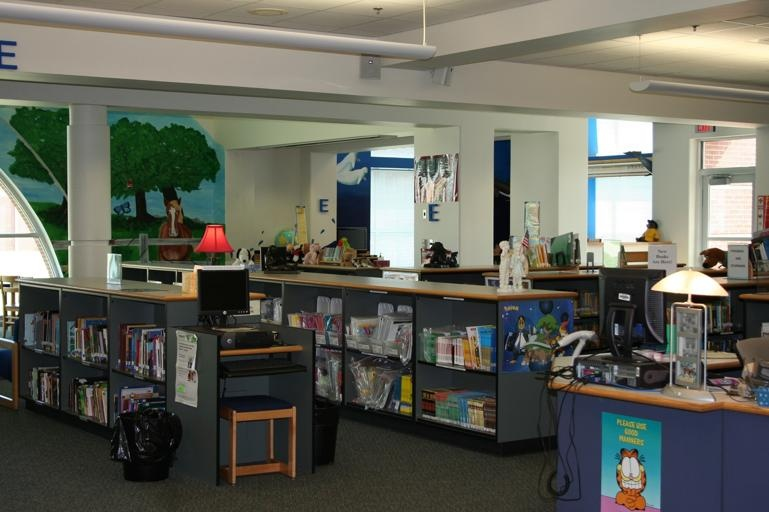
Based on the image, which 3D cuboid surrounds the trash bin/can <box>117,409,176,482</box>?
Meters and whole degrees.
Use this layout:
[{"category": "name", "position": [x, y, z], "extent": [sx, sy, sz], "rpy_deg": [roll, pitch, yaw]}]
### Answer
[{"category": "trash bin/can", "position": [-2.192, 1.776, 5.930], "extent": [0.525, 0.625, 0.662], "rpy_deg": [2, -5, -5]}]

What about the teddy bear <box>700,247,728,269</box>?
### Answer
[{"category": "teddy bear", "position": [6.175, 0.046, 11.728], "extent": [0.607, 0.331, 0.255], "rpy_deg": [4, 15, -10]}]

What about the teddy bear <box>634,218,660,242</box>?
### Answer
[{"category": "teddy bear", "position": [6.915, -0.633, 16.358], "extent": [0.607, 0.770, 0.591], "rpy_deg": [10, -6, 21]}]

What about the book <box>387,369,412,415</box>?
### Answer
[{"category": "book", "position": [0.176, 1.595, 7.400], "extent": [0.392, 0.509, 0.526], "rpy_deg": [3, 1, 5]}]

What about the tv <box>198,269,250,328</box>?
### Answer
[{"category": "tv", "position": [-1.599, 0.402, 6.146], "extent": [0.591, 0.649, 0.254], "rpy_deg": [0, -3, -20]}]

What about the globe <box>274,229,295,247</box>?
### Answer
[{"category": "globe", "position": [-2.742, -0.480, 17.130], "extent": [0.631, 0.520, 0.579], "rpy_deg": [1, 6, 16]}]

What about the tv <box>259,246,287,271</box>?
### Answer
[{"category": "tv", "position": [-1.663, 0.041, 9.381], "extent": [0.409, 0.334, 0.204], "rpy_deg": [0, -2, -23]}]

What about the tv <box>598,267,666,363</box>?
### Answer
[{"category": "tv", "position": [1.845, 0.434, 4.649], "extent": [0.239, 0.656, 0.669], "rpy_deg": [-5, 6, -42]}]

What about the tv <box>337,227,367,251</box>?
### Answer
[{"category": "tv", "position": [-0.869, -0.484, 17.074], "extent": [0.823, 0.579, 0.989], "rpy_deg": [0, 4, -6]}]

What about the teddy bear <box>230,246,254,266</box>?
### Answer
[{"category": "teddy bear", "position": [-2.613, 0.002, 11.427], "extent": [0.512, 0.469, 0.345], "rpy_deg": [1, 0, -32]}]
